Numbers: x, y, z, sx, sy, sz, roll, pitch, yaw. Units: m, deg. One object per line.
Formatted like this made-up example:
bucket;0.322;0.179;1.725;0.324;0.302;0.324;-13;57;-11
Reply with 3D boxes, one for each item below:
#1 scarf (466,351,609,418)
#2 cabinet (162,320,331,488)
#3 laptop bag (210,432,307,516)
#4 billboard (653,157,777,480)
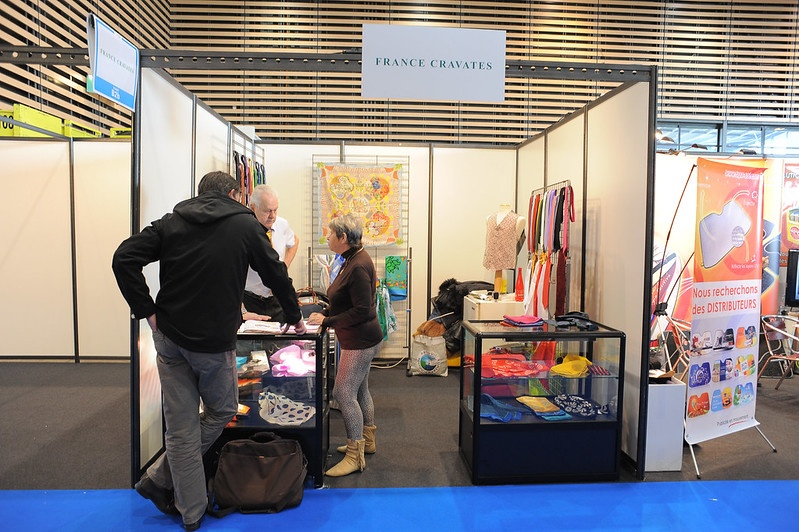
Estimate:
scarf;1.363;1.162;5.887;1.210;0.672;0.615;2;1;-1
cabinet;-1.374;1.346;6.680;1.559;1.782;1.245;1;7;2
laptop bag;-1.224;1.893;6.034;0.973;0.881;0.564;1;-9;-3
billboard;3.244;0.342;6.446;0.935;3.293;0.288;0;0;-21
